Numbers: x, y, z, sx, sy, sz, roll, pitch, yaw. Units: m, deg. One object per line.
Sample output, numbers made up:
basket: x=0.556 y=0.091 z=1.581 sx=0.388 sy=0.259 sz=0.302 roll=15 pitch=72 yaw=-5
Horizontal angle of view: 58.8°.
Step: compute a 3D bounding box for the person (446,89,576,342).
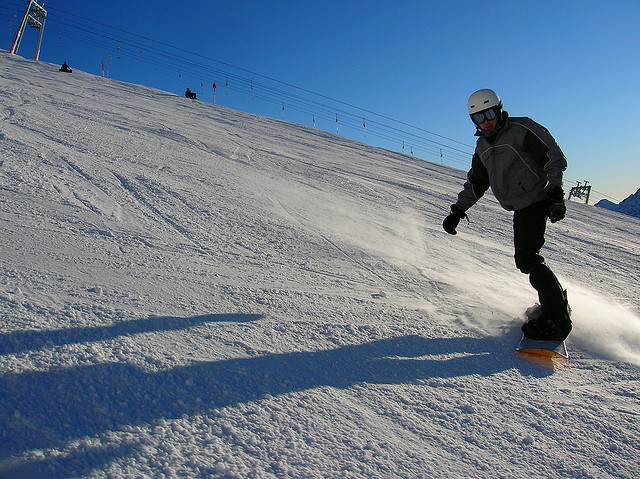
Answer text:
person: x=1.908 y=-0.003 z=5.745 sx=1.169 sy=0.962 sz=2.382 roll=12 pitch=42 yaw=-3
